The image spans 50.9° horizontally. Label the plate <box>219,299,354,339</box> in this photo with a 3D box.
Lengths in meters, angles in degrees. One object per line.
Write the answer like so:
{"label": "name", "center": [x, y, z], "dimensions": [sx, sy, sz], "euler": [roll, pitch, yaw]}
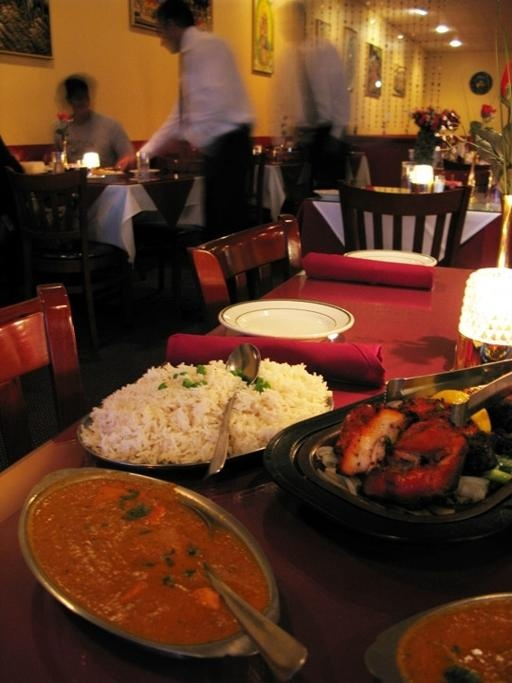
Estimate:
{"label": "plate", "center": [0.051, -0.039, 0.881], "dimensions": [0.119, 0.015, 0.110], "euler": [7, 20, 16]}

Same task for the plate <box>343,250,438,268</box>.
{"label": "plate", "center": [0.351, -0.217, 1.371], "dimensions": [0.132, 0.015, 0.136], "euler": [12, 19, 28]}

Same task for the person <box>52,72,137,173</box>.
{"label": "person", "center": [-1.498, -1.866, 4.709], "dimensions": [0.826, 0.879, 0.511], "euler": [-2, 23, 4]}
